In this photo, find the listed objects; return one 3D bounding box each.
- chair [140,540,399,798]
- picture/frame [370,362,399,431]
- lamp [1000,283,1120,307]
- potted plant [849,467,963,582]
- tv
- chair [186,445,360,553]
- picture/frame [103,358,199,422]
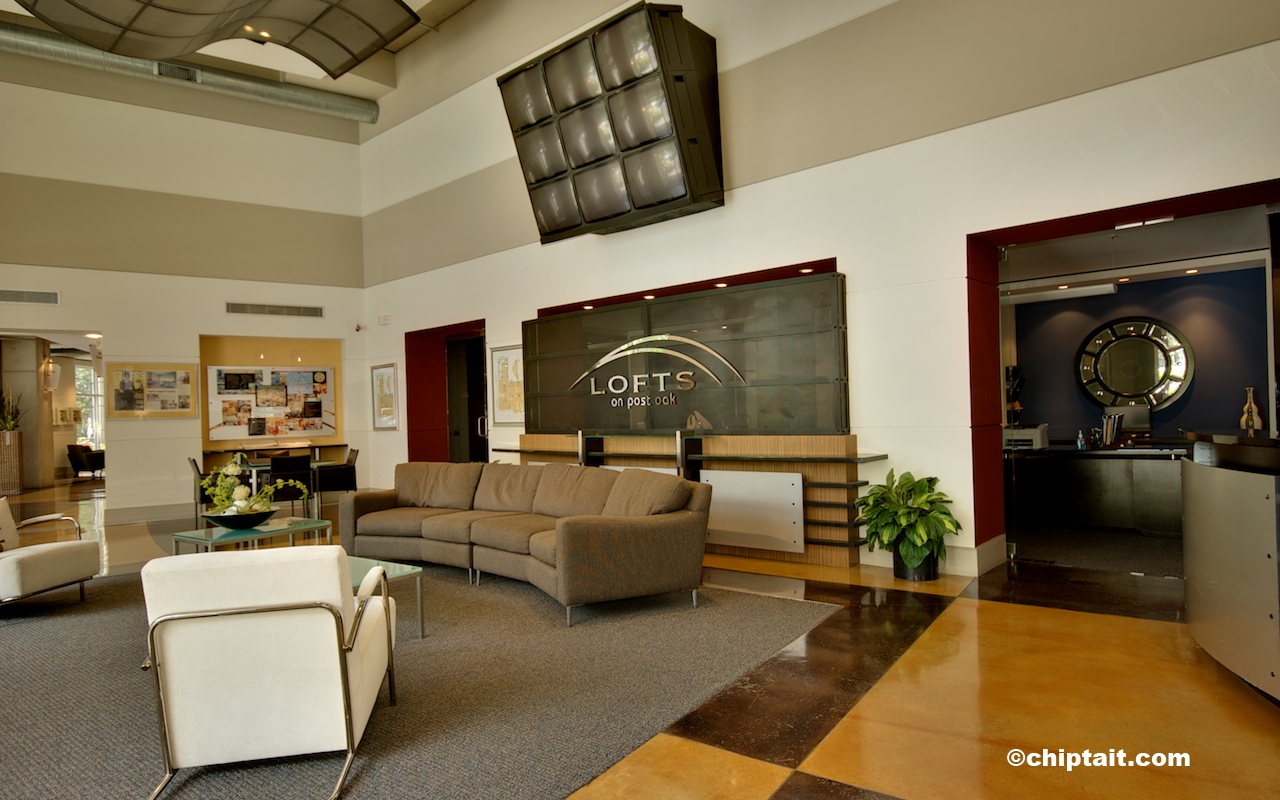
[{"bbox_3d":[-2.693,1.756,6.064,1.245,1.331,1.959,-1,1,-9],"label":"chair"},{"bbox_3d":[-4.543,-0.051,14.174,1.267,1.436,0.097,1,4,43],"label":"picture/frame"},{"bbox_3d":[6.181,-1.535,11.672,1.899,0.319,1.096,-12,16,-38],"label":"lamp"},{"bbox_3d":[2.808,1.353,8.502,1.103,0.938,1.070,1,-6,-11],"label":"potted plant"},{"bbox_3d":[-0.270,-3.362,9.956,2.625,2.623,0.811,8,16,36],"label":"tv"},{"bbox_3d":[-4.774,1.304,10.229,0.982,0.972,1.453,0,0,38],"label":"chair"},{"bbox_3d":[-7.922,-0.134,12.694,1.082,0.757,0.040,0,-3,-43],"label":"picture/frame"}]
